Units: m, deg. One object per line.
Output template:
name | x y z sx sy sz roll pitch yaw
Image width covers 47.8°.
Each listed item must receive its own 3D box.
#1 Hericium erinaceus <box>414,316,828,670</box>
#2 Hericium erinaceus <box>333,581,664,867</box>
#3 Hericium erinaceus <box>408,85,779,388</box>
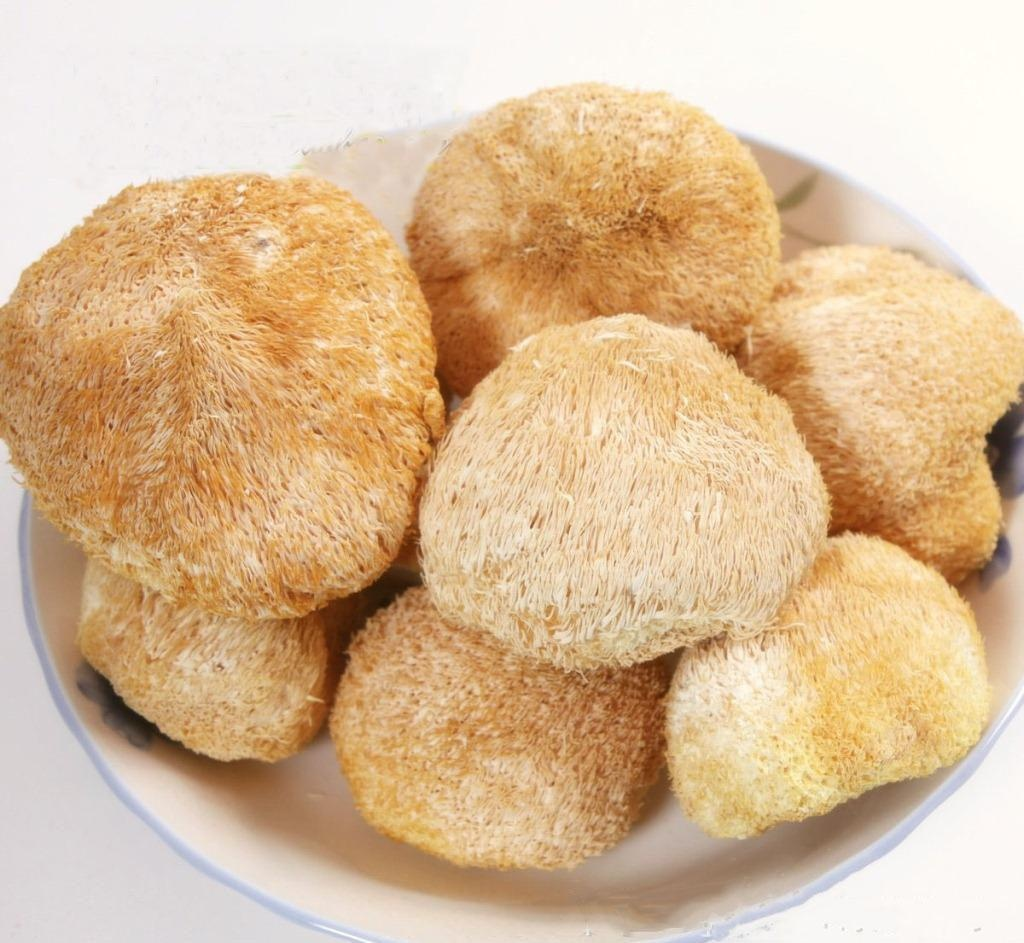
Hericium erinaceus | 0.103 0.027 1.130 0.435 0.140 0.302 1 82 0
Hericium erinaceus | -0.011 0.252 1.183 0.249 0.222 0.381 -25 32 -38
Hericium erinaceus | 0.077 -0.274 1.341 0.465 0.300 0.315 -15 34 -23
